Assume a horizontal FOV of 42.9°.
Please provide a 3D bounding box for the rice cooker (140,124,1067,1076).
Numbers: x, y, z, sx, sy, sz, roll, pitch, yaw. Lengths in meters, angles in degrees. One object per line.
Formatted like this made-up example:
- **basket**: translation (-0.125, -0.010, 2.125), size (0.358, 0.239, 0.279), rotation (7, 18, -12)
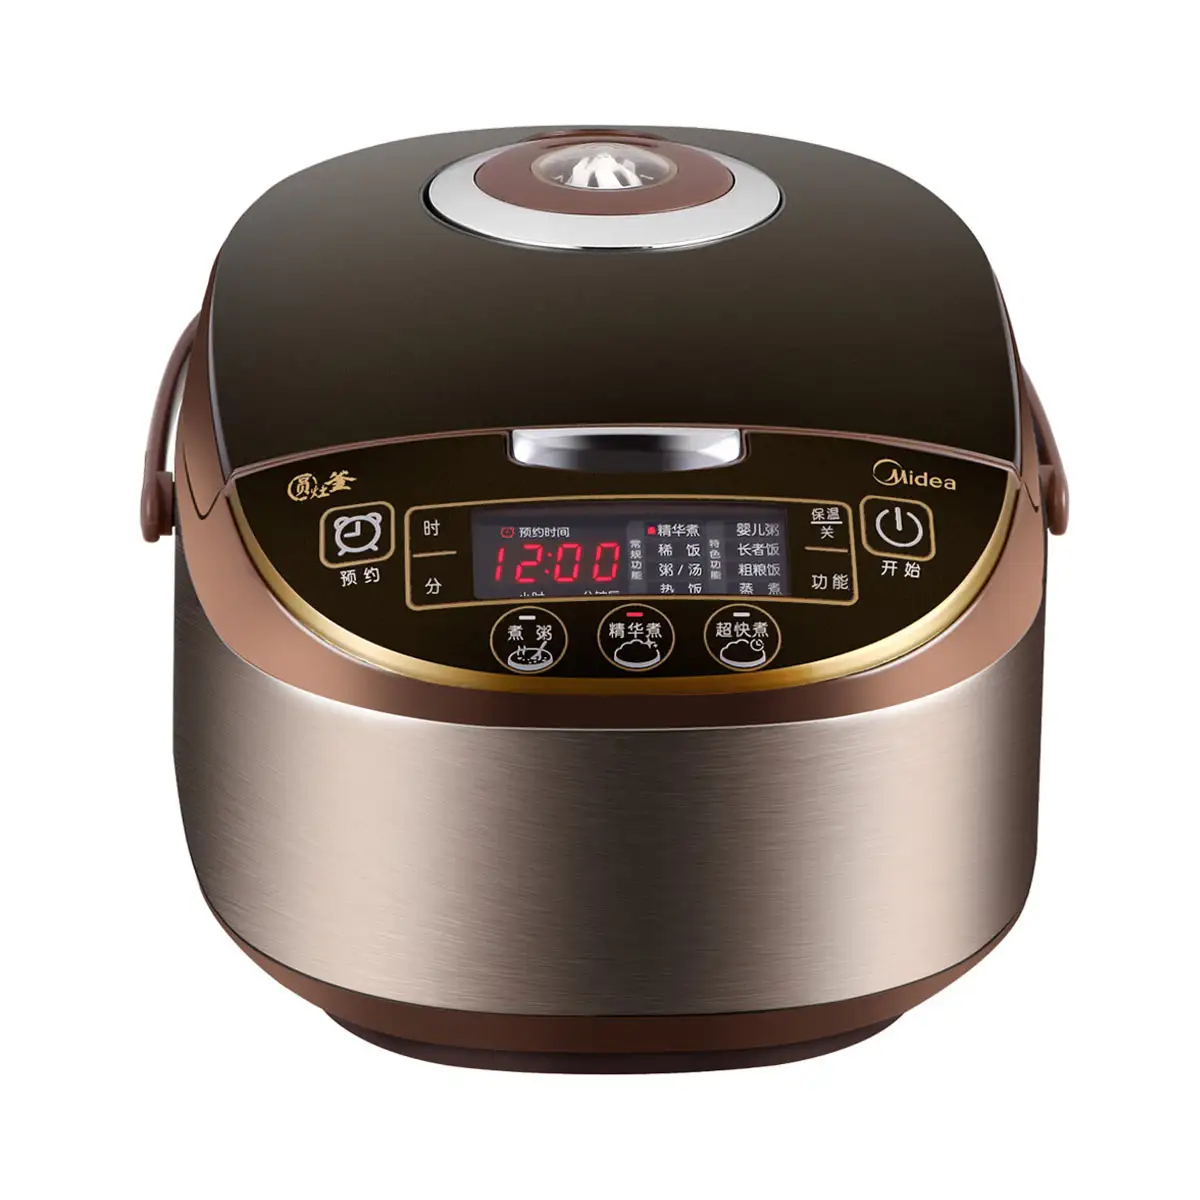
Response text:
- **rice cooker**: translation (-0.006, -0.006, 1.312), size (0.756, 0.757, 0.598), rotation (2, 18, 10)
